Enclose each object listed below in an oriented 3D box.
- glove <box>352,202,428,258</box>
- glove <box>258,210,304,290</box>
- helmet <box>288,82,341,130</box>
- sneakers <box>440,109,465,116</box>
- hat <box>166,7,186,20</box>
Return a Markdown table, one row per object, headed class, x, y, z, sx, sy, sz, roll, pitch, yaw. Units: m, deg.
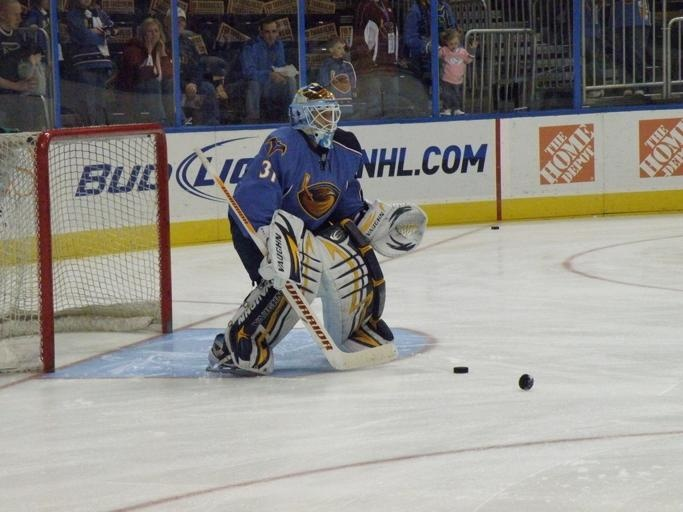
| class | x | y | z | sx | sy | sz | roll | pitch | yaw |
| --- | --- | --- | --- | --- | --- | --- | --- | --- | --- |
| glove | 0.313 | -0.170 | 6.363 | 0.409 | 0.300 | 0.283 | -13 | 7 | -17 |
| glove | -0.294 | -0.041 | 5.715 | 0.116 | 0.366 | 0.296 | -10 | -23 | 36 |
| helmet | -0.148 | -0.837 | 6.058 | 0.299 | 0.236 | 0.229 | 5 | 8 | 36 |
| sneakers | 1.124 | -1.429 | 10.746 | 0.247 | 0.093 | 0.079 | -3 | 14 | 4 |
| hat | -1.478 | -2.174 | 9.690 | 0.094 | 0.118 | 0.126 | 1 | 0 | -31 |
